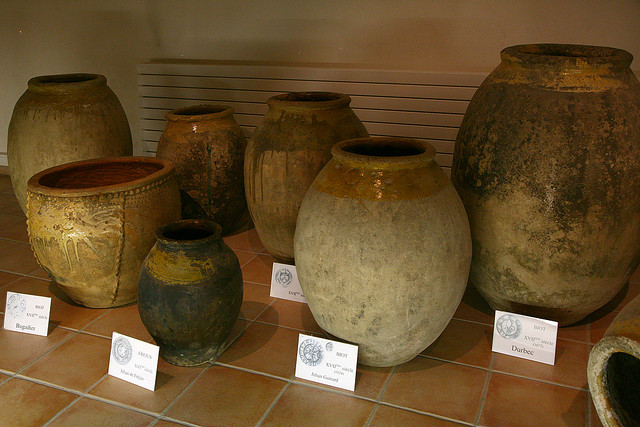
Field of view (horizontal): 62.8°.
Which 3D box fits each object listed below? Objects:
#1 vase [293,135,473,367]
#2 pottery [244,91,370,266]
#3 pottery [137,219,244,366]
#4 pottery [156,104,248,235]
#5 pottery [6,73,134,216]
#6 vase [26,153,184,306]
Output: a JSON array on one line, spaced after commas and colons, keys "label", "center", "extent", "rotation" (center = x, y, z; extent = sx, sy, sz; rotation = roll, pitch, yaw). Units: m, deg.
[{"label": "vase", "center": [0.381, 0.079, 2.687], "extent": [0.987, 1.048, 0.943], "rotation": [-8, 15, -33]}, {"label": "pottery", "center": [-0.115, -0.212, 3.164], "extent": [0.718, 0.971, 0.685], "rotation": [3, 22, -1]}, {"label": "pottery", "center": [-0.611, 0.373, 2.537], "extent": [0.537, 0.573, 0.512], "rotation": [-8, 20, -29]}, {"label": "pottery", "center": [-0.771, -0.328, 3.444], "extent": [0.605, 0.803, 0.591], "rotation": [-4, 21, -18]}, {"label": "pottery", "center": [-1.515, -0.524, 3.653], "extent": [0.918, 1.056, 0.884], "rotation": [-1, 15, -7]}, {"label": "vase", "center": [-1.232, 0.094, 3.012], "extent": [0.851, 0.697, 0.890], "rotation": [-8, 23, -29]}]
